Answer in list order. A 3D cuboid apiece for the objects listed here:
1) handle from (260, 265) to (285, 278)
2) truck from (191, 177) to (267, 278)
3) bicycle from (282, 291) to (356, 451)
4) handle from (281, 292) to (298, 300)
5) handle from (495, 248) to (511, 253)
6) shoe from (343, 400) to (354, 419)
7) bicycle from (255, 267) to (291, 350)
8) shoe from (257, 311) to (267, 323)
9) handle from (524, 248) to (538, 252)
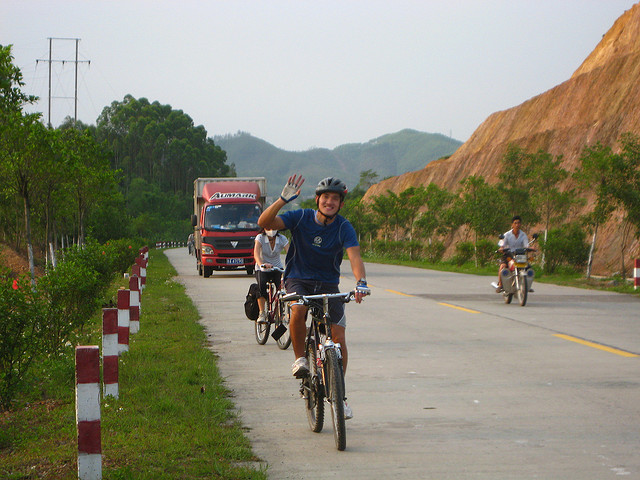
[{"bbox_3d":[-0.852,0.551,15.239,0.650,0.149,0.121,12,-2,-7],"label":"handle"},{"bbox_3d":[-3.315,-0.611,32.703,2.230,3.037,5.206,0,-1,-5],"label":"truck"},{"bbox_3d":[0.008,1.525,10.521,0.745,1.832,1.105,2,0,-19],"label":"bicycle"},{"bbox_3d":[-0.377,0.697,10.800,0.193,0.050,0.191,-1,0,-17],"label":"handle"},{"bbox_3d":[4.558,0.250,21.725,0.270,0.110,1.707,3,0,11],"label":"handle"},{"bbox_3d":[0.331,2.066,10.547,0.114,0.157,0.355,-1,-9,-1],"label":"shoe"},{"bbox_3d":[-0.690,1.155,15.060,0.667,1.640,0.784,-1,1,-16],"label":"bicycle"},{"bbox_3d":[-1.033,1.354,15.421,0.145,0.200,0.445,0,-7,1],"label":"shoe"},{"bbox_3d":[5.114,0.229,20.982,0.161,0.083,0.497,3,0,36],"label":"handle"}]
